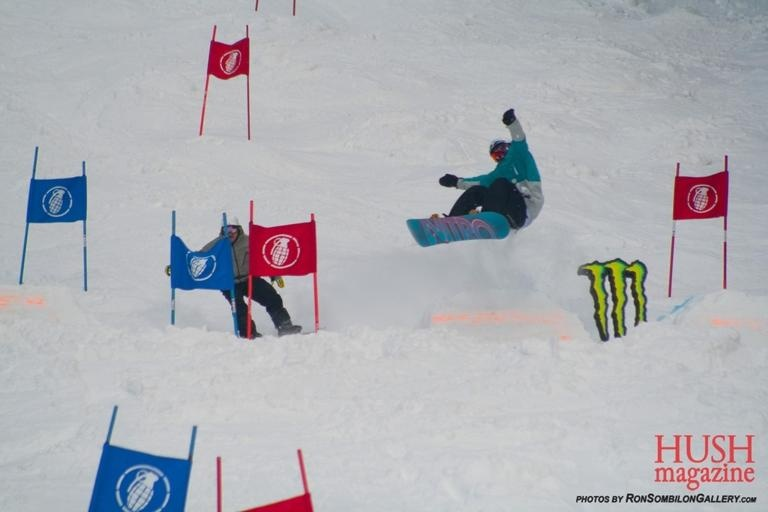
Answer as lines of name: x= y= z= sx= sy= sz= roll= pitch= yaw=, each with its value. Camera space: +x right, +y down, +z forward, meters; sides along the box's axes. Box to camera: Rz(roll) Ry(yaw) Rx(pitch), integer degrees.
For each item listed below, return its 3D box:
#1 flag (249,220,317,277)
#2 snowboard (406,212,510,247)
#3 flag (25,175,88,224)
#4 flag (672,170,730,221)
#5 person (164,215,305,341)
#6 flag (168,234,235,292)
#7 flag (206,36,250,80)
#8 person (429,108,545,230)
flag: x=-0.951 y=-0.064 z=10.370 sx=0.531 sy=0.025 sz=0.450 roll=-1 pitch=95 yaw=1
snowboard: x=0.691 y=-0.312 z=11.113 sx=1.247 sy=0.214 sz=0.374 roll=-7 pitch=106 yaw=-10
flag: x=-3.350 y=-0.579 z=11.224 sx=0.526 sy=0.040 sz=0.428 roll=0 pitch=91 yaw=1
flag: x=3.331 y=-0.623 z=11.401 sx=0.541 sy=0.043 sz=0.498 roll=1 pitch=91 yaw=14
person: x=-1.386 y=0.255 z=10.646 sx=1.003 sy=1.439 sz=0.459 roll=-1 pitch=31 yaw=11
flag: x=-1.747 y=0.085 z=10.576 sx=0.584 sy=0.041 sz=0.518 roll=0 pitch=95 yaw=9
flag: x=-1.760 y=-2.249 z=12.431 sx=0.619 sy=0.050 sz=0.689 roll=3 pitch=93 yaw=13
person: x=1.087 y=-0.757 z=11.292 sx=1.150 sy=0.876 sz=1.471 roll=12 pitch=73 yaw=-4
